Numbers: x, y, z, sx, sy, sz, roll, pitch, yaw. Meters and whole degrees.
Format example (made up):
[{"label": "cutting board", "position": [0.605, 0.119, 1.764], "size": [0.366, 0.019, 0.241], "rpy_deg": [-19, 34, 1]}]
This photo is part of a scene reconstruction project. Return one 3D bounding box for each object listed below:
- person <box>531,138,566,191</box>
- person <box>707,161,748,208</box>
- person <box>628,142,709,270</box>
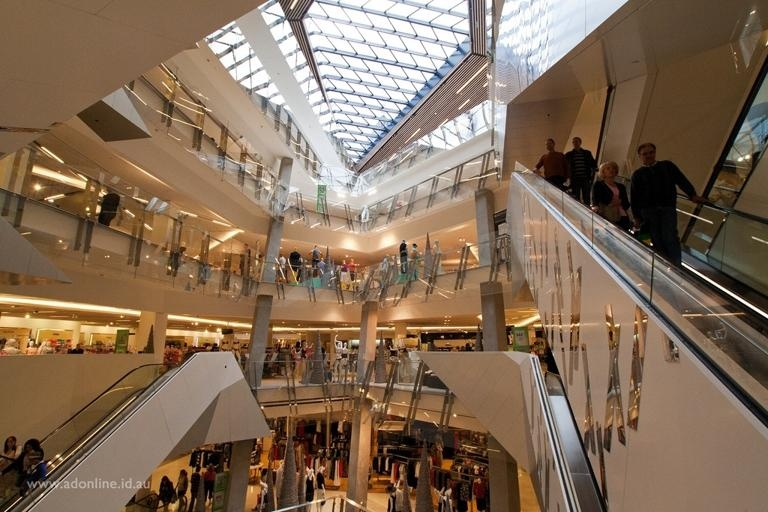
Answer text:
[{"label": "person", "position": [3.125, -1.496, 8.945], "size": [0.631, 1.402, 0.416], "rpy_deg": [-4, -17, 20]}, {"label": "person", "position": [5.160, -1.055, 7.175], "size": [0.195, 0.689, 0.729], "rpy_deg": [21, 28, 36]}, {"label": "person", "position": [3.809, -0.763, 6.549], "size": [0.782, 1.811, 0.538], "rpy_deg": [-7, -17, 30]}]
